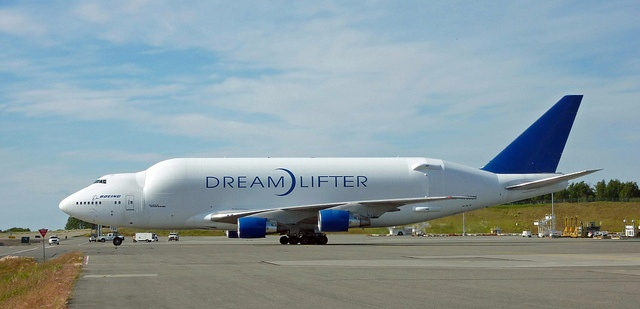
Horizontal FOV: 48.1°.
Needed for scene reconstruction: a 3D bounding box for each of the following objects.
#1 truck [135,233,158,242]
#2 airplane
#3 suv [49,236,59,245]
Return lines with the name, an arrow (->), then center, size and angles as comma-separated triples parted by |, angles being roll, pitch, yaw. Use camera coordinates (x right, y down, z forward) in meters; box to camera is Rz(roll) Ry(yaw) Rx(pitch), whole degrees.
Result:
truck -> -23.727, 11.338, 97.313 | 3.264, 0.768, 1.660 | -1, -4, 10
airplane -> 0.533, 2.535, 76.142 | 50.364, 15.241, 3.883 | -2, 0, -4
suv -> -34.749, 11.279, 93.055 | 1.709, 0.879, 2.972 | 1, -6, -15
